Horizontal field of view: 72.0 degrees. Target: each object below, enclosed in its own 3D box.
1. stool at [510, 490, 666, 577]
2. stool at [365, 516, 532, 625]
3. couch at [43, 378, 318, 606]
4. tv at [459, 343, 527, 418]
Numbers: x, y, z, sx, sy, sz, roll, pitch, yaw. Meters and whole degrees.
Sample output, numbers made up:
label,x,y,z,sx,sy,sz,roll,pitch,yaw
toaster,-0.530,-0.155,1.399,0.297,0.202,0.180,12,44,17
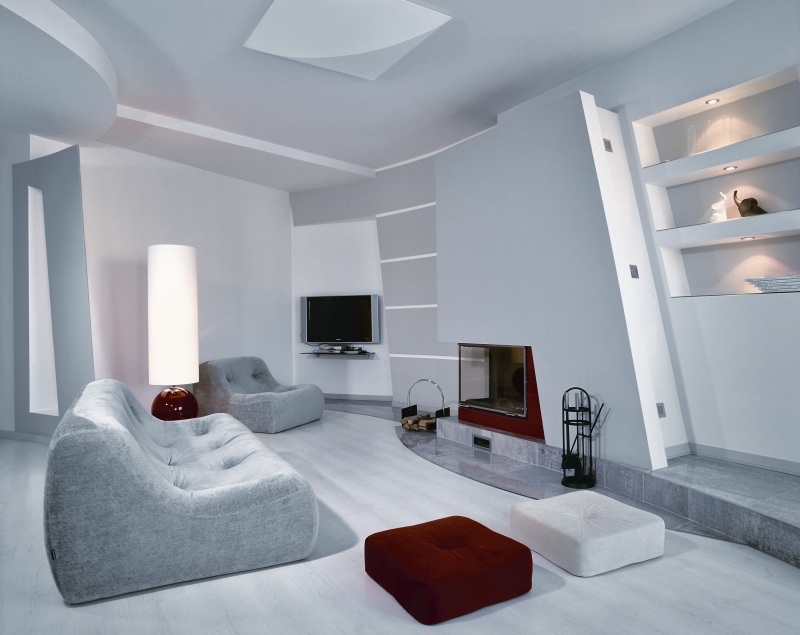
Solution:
label,x,y,z,sx,sy,sz,roll,pitch,yaw
stool,1.146,1.284,3.360,0.761,0.248,0.563,-2,4,-21
stool,0.273,1.333,3.023,0.860,0.264,0.612,-1,4,-20
couch,-1.559,0.964,3.818,1.601,0.983,2.115,-3,2,-37
tv,0.923,0.557,5.473,0.497,0.708,0.936,1,-1,-33
